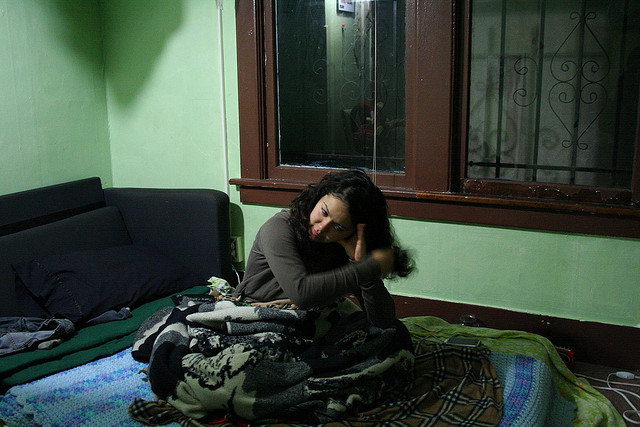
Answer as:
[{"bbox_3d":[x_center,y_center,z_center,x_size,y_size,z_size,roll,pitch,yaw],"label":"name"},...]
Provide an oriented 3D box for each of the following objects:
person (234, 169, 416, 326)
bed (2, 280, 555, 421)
[{"bbox_3d":[0.069,0.185,2.057,0.680,0.731,0.328,2,14,10],"label":"person"},{"bbox_3d":[-0.248,0.613,2.266,2.722,0.568,0.779,0,14,2],"label":"bed"}]
